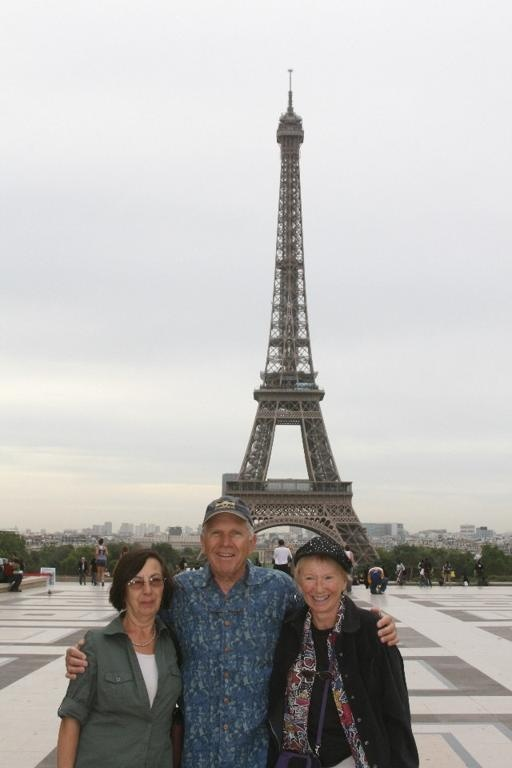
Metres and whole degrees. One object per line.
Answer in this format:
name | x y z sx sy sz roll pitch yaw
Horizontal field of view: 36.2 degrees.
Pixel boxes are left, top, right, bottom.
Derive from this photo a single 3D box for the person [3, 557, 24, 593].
person | -6.485 5.116 20.954 0.496 0.760 1.923 3 -10 -17
